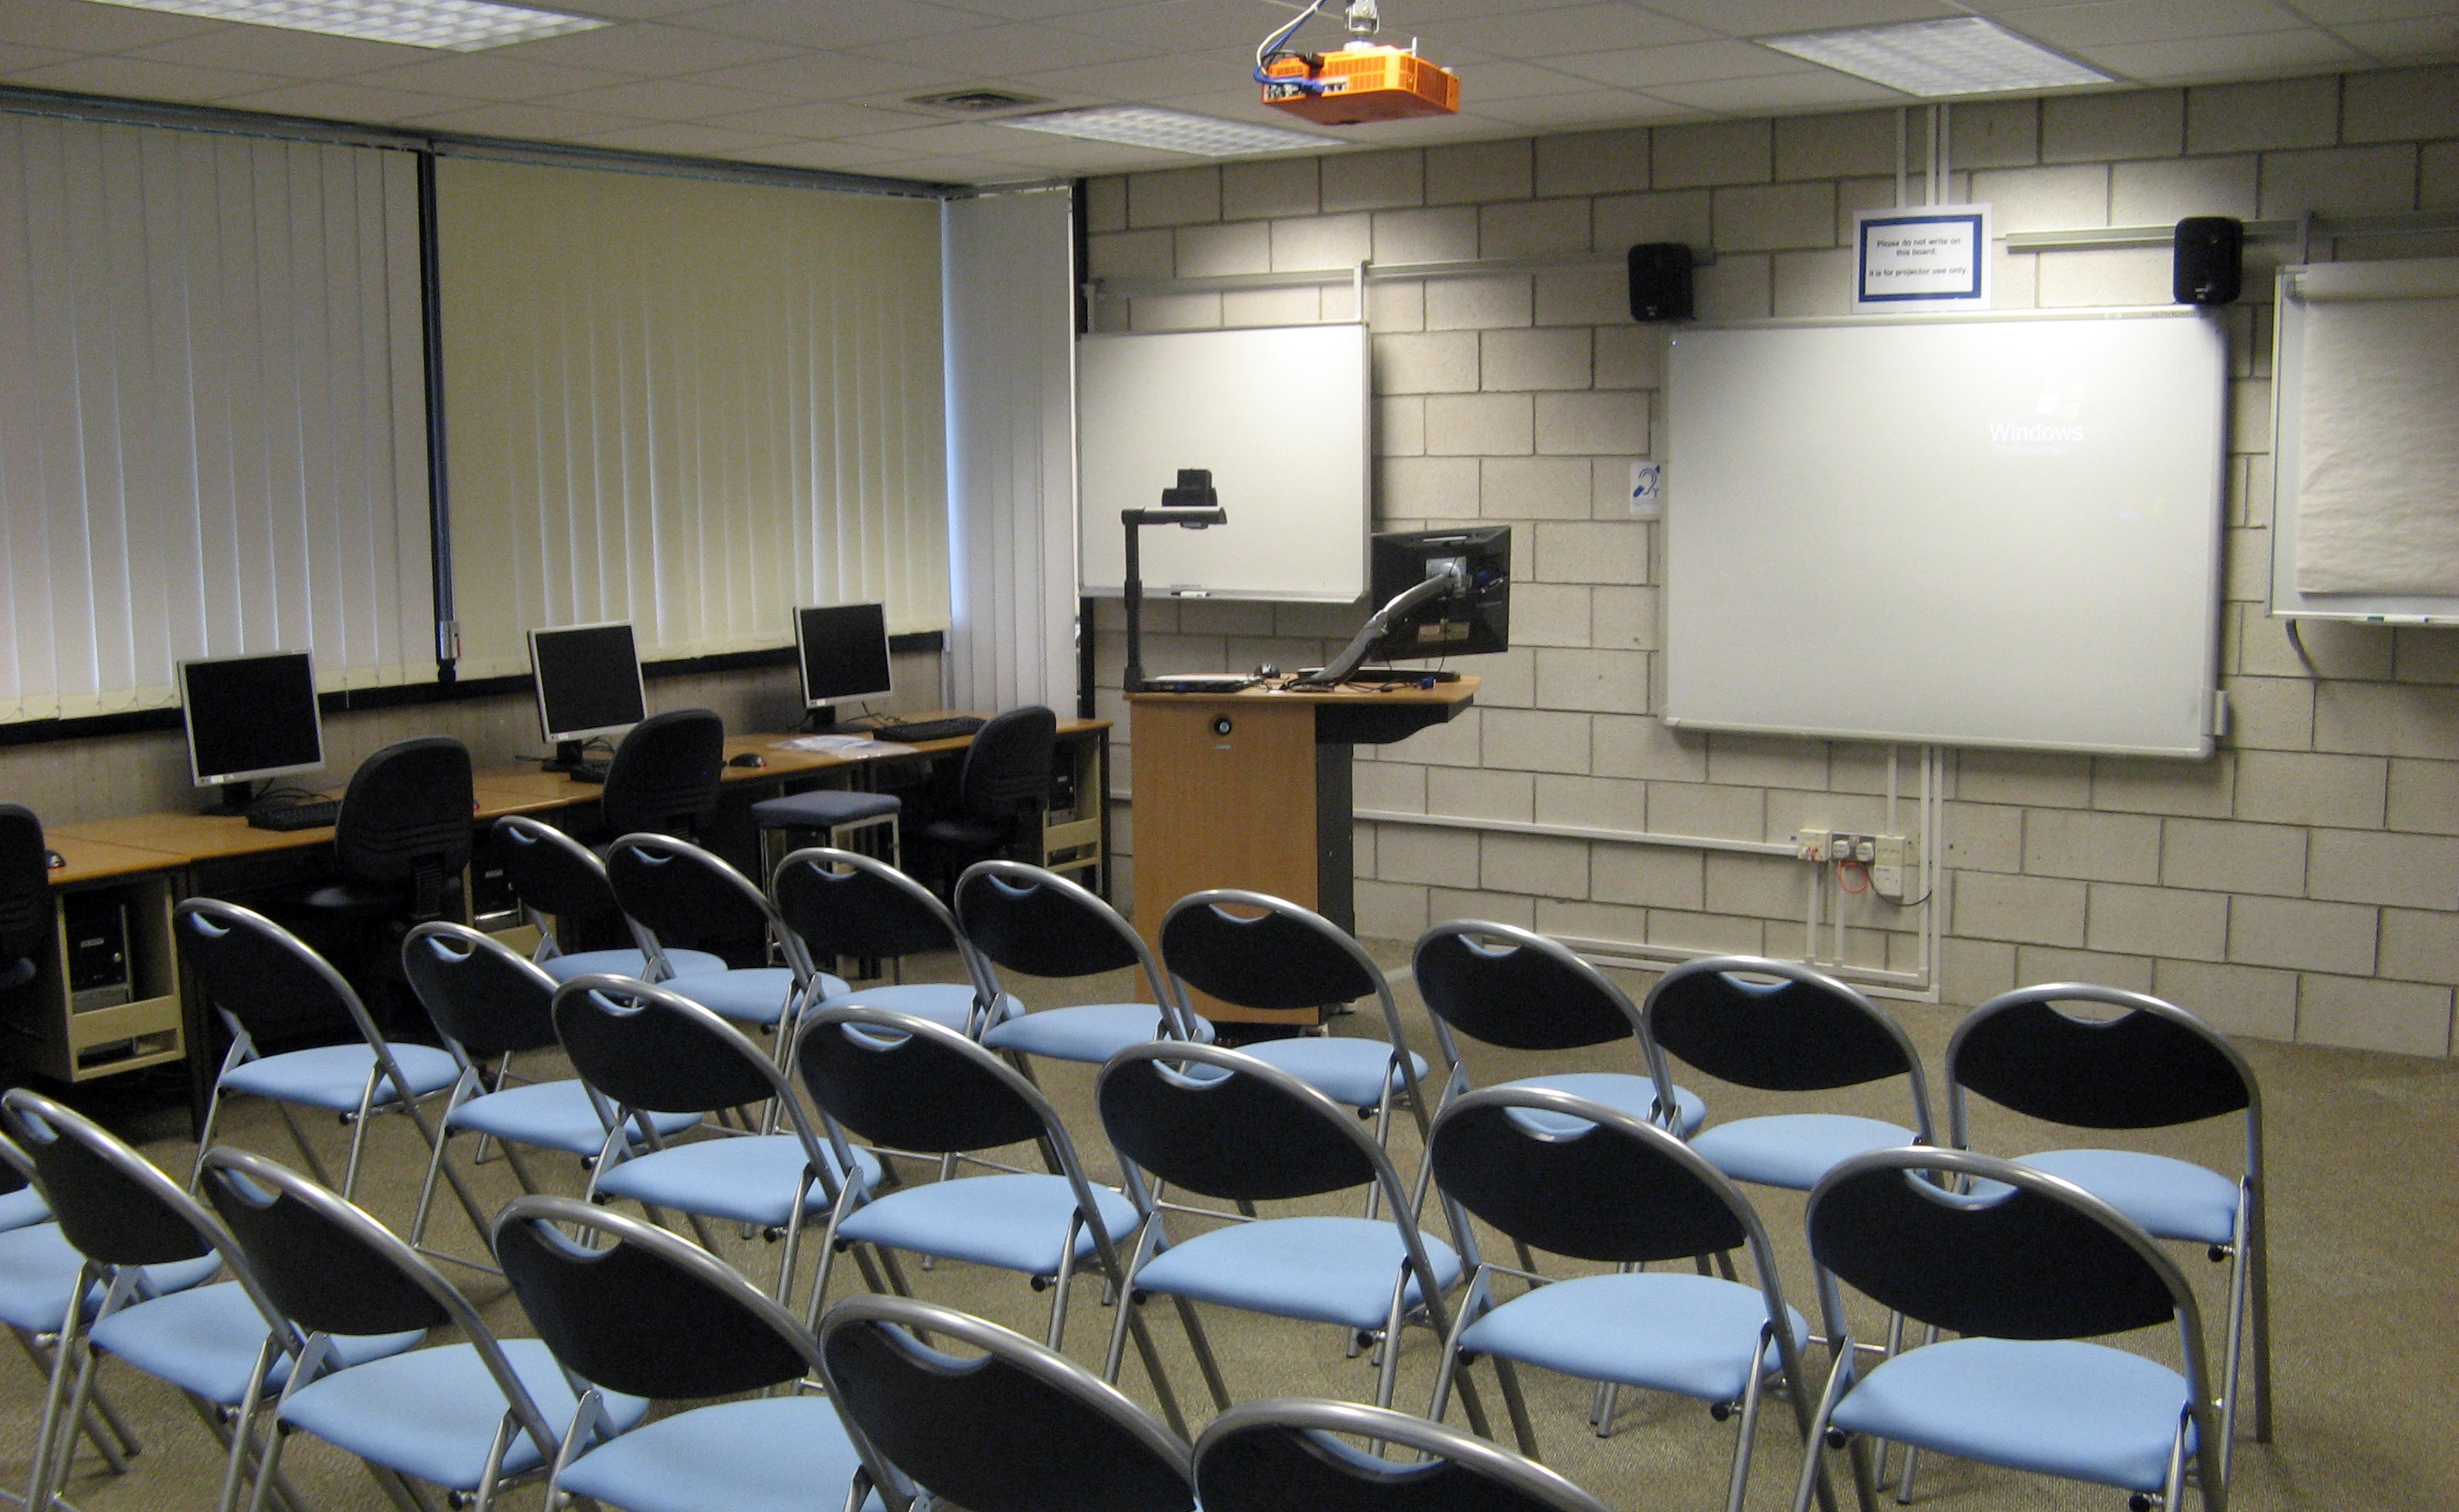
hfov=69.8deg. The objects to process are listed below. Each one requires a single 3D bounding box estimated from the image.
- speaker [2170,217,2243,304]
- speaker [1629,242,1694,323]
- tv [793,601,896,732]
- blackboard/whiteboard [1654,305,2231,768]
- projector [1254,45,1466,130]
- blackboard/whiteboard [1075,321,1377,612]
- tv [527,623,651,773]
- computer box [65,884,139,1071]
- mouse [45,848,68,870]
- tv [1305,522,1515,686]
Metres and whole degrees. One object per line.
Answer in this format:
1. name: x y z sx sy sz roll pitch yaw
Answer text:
1. speaker: 3.634 -1.845 6.565 0.248 0.330 0.129 3 10 19
2. speaker: 1.790 -1.972 7.333 0.270 0.336 0.144 3 10 19
3. tv: -1.837 -0.438 8.310 0.340 0.623 0.659 -1 2 37
4. blackboard/whiteboard: 2.920 -0.921 7.016 2.059 1.470 0.198 1 4 23
5. projector: 0.336 -1.790 4.635 0.487 0.206 0.285 2 9 18
6. blackboard/whiteboard: 0.039 -1.358 8.071 1.646 1.323 0.214 2 8 21
7. tv: -2.698 -0.251 7.372 0.322 0.632 0.598 4 9 32
8. computer box: -3.767 0.728 5.911 0.212 0.565 0.220 -6 11 -32
9. mouse: -3.893 0.335 5.856 0.076 0.034 0.103 -2 3 -31
10. tv: 0.630 -0.587 6.568 1.018 0.667 0.537 4 8 31
